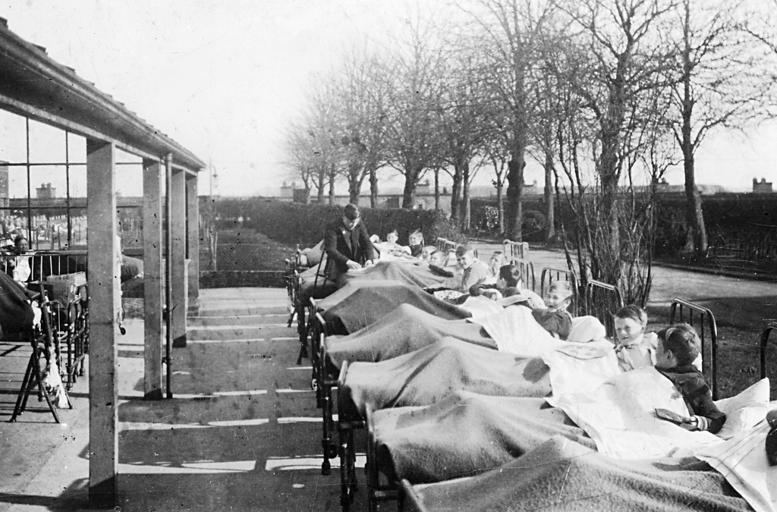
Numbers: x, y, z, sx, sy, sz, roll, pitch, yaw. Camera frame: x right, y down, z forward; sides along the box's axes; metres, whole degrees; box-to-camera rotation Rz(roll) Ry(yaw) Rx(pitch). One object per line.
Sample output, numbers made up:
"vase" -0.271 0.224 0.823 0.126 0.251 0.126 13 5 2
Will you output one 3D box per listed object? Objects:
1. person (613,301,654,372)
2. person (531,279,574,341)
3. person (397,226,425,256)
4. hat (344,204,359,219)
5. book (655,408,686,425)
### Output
"person" 2.762 0.928 8.244 0.435 0.803 0.404 -2 5 32
"person" 2.174 0.727 9.544 0.410 0.858 0.524 -3 16 -16
"person" 0.643 -0.446 19.577 0.425 0.731 0.963 3 0 -16
"hat" -0.655 -0.869 13.448 0.193 0.286 0.280 1 42 -7
"book" 2.705 1.533 7.085 0.233 0.058 0.124 24 29 37
